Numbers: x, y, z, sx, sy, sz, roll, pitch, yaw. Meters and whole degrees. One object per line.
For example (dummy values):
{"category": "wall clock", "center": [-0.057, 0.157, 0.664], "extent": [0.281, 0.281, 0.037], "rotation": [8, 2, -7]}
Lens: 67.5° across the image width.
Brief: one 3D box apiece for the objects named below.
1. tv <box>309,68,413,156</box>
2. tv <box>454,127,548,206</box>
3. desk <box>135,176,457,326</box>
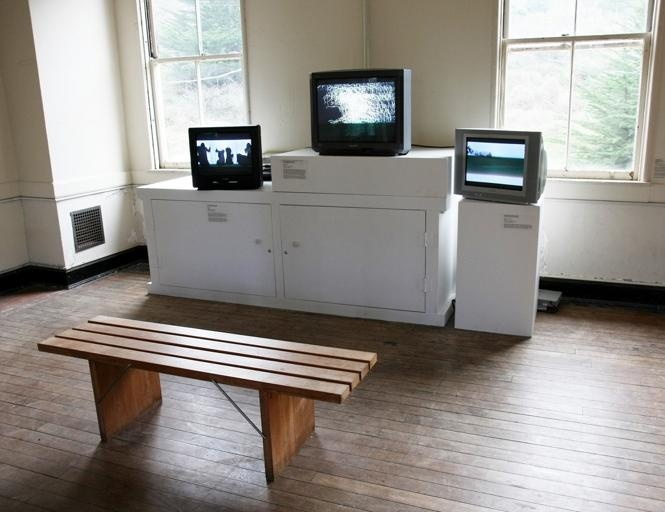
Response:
{"category": "tv", "center": [0.219, -1.169, 4.151], "extent": [0.788, 0.673, 0.458], "rotation": [3, 17, 13]}
{"category": "tv", "center": [1.203, -0.645, 3.815], "extent": [0.611, 0.501, 0.411], "rotation": [4, -1, 6]}
{"category": "desk", "center": [-0.323, -0.134, 4.617], "extent": [2.703, 1.079, 0.877], "rotation": [4, 14, 13]}
